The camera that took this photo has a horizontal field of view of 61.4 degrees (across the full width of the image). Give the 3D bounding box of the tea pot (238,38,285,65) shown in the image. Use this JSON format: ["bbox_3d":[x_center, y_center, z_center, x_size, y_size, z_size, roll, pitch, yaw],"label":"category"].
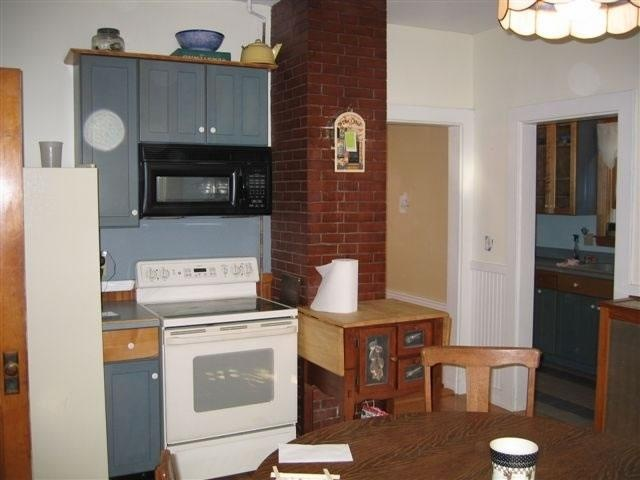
[{"bbox_3d":[-0.410,-1.315,3.811,0.276,0.152,0.197,-7,17,-21],"label":"tea pot"}]

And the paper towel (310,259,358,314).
[{"bbox_3d":[0.112,0.320,3.596,0.373,0.378,0.254,0,3,-2],"label":"paper towel"}]

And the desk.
[{"bbox_3d":[0.248,0.742,3.724,0.990,1.155,0.815,0,-1,-29],"label":"desk"}]

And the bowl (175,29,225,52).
[{"bbox_3d":[-0.822,-1.351,3.676,0.217,0.072,0.217,0,6,0],"label":"bowl"}]

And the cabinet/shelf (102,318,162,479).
[{"bbox_3d":[-1.145,0.965,3.307,0.308,0.923,0.185,-2,12,-8],"label":"cabinet/shelf"}]

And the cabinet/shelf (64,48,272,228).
[{"bbox_3d":[-1.037,-0.691,3.538,1.229,1.069,0.544,-1,2,-26],"label":"cabinet/shelf"}]

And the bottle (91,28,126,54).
[{"bbox_3d":[-1.374,-1.269,3.476,0.190,0.134,0.190,1,2,0],"label":"bottle"}]
